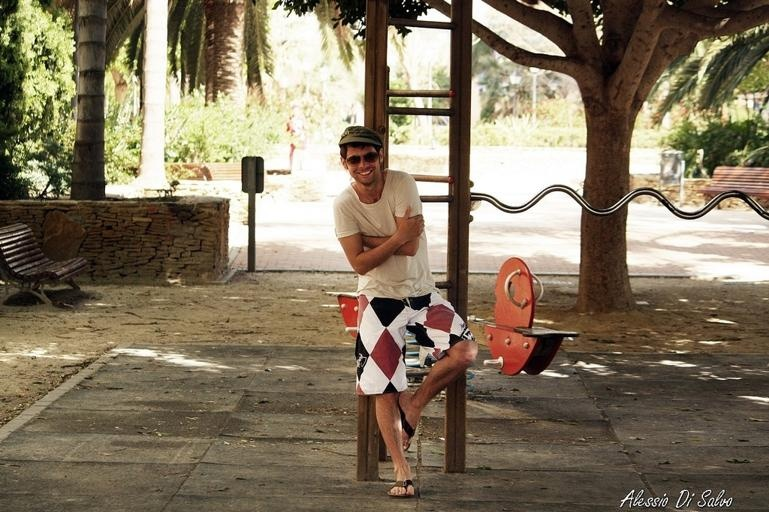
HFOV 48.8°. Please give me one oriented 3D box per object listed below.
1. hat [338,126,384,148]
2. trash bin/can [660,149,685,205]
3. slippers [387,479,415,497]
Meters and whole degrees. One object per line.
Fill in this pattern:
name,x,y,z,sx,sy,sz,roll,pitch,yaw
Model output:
hat,-0.182,-0.946,6.658,0.337,0.167,0.254,-1,9,0
trash bin/can,9.790,-2.672,28.388,0.711,1.702,1.482,-2,9,-5
slippers,0.153,1.825,6.762,0.239,0.142,0.174,-2,9,-10
